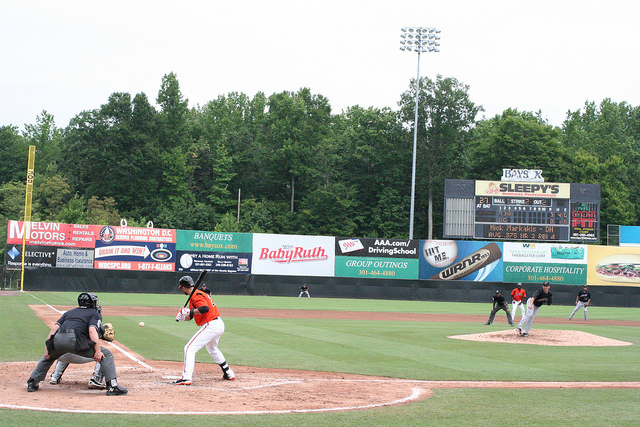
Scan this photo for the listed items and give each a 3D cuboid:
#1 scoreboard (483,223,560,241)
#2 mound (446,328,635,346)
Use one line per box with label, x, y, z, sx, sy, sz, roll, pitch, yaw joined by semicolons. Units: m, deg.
scoreboard;15.740;1.611;66.704;5.060;1.436;0.364;1;7;-6
mound;11.797;6.581;45.814;8.145;0.343;2.515;1;7;2
